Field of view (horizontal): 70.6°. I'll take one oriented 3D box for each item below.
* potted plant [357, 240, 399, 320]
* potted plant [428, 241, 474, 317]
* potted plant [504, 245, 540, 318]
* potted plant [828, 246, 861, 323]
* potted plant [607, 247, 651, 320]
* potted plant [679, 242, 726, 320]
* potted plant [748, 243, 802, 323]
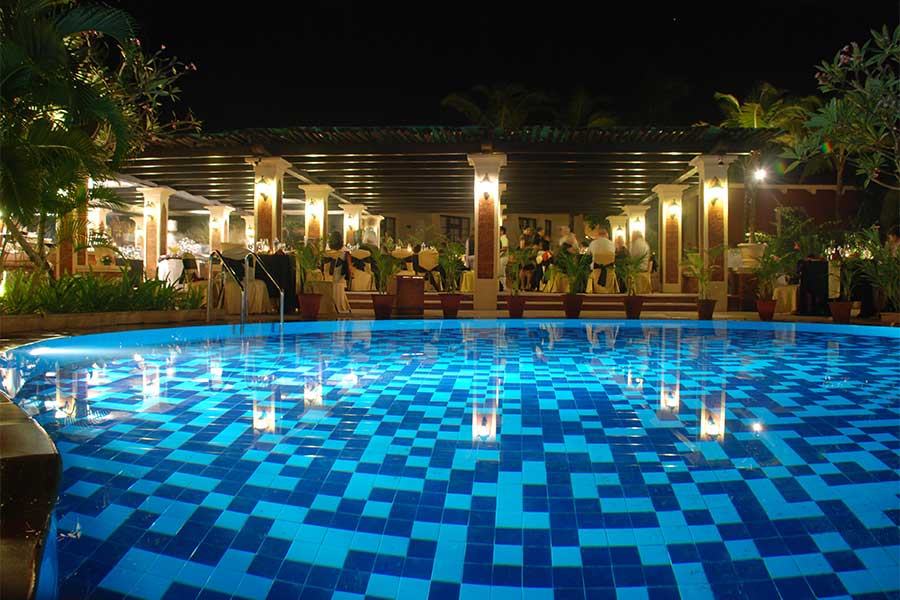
[{"bbox_3d":[-1.275,-0.350,12.116,0.707,1.444,1.005,-2,5,9],"label":"potted plant"},{"bbox_3d":[0.092,-0.375,12.669,0.689,1.361,0.788,4,-8,1],"label":"potted plant"},{"bbox_3d":[1.351,-0.375,12.867,0.855,1.411,0.818,5,-1,-37],"label":"potted plant"},{"bbox_3d":[7.028,-0.307,11.248,0.855,1.269,0.610,-11,15,-39],"label":"potted plant"},{"bbox_3d":[3.723,-0.252,13.005,0.706,1.412,2.726,2,10,16],"label":"potted plant"},{"bbox_3d":[5.356,-0.452,13.579,1.024,1.733,1.182,-4,-6,4],"label":"potted plant"},{"bbox_3d":[5.992,-0.377,12.057,0.831,1.353,0.815,4,1,-42],"label":"potted plant"}]
